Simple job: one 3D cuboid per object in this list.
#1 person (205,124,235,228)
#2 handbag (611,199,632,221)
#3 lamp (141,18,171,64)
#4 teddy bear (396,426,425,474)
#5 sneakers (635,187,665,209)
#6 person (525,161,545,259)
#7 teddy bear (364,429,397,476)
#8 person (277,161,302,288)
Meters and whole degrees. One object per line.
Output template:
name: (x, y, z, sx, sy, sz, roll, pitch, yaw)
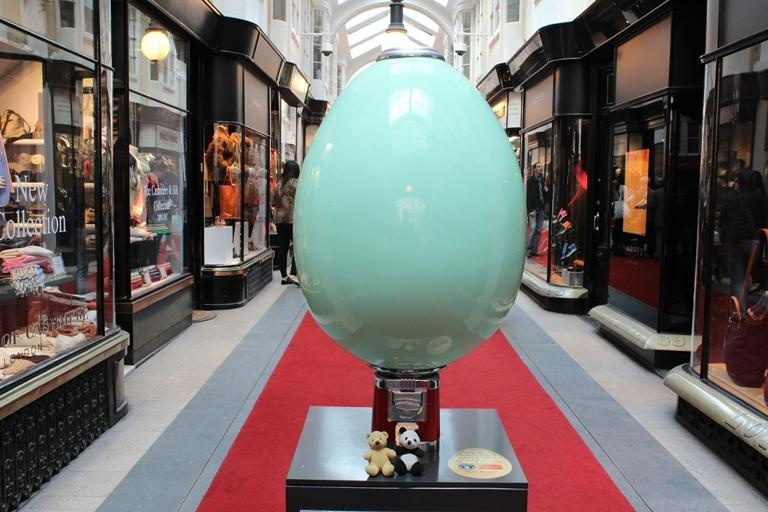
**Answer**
person: (-1.989, -1.015, 6.162, 0.330, 1.156, 0.096, -1, 7, -16)
handbag: (2.343, -0.466, 5.026, 0.131, 0.269, 0.137, 1, -6, 0)
lamp: (-2.196, -2.041, 4.881, 0.279, 0.366, 0.282, -4, -7, -30)
teddy bear: (0.074, 0.574, 1.479, 0.092, 0.130, 0.090, 3, -5, -5)
sneakers: (2.341, -0.511, 4.443, 0.192, 0.151, 0.311, 4, 2, 21)
person: (2.054, -0.619, 6.846, 0.146, 1.257, 0.591, 2, 7, 10)
teddy bear: (-0.012, 0.561, 1.470, 0.105, 0.135, 0.100, 0, -2, 0)
person: (-1.486, -0.528, 7.718, 0.330, 1.841, 1.343, -1, 8, -12)
